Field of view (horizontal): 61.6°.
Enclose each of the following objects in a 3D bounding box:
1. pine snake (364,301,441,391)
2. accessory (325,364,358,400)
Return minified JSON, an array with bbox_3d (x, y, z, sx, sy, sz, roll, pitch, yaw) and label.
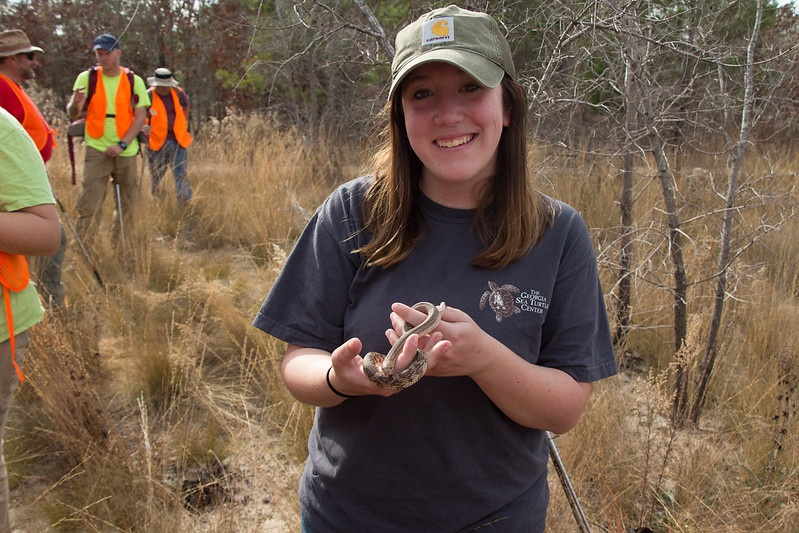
[{"bbox_3d":[0.074,0.579,5.219,0.417,0.802,0.313,15,-25,43],"label":"pine snake"},{"bbox_3d":[-0.498,0.921,5.293,0.176,0.256,0.094,1,9,-4],"label":"accessory"}]
